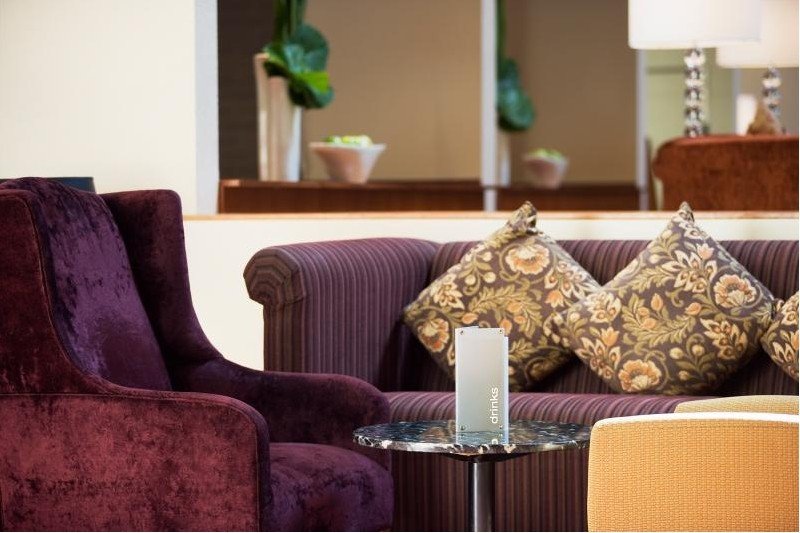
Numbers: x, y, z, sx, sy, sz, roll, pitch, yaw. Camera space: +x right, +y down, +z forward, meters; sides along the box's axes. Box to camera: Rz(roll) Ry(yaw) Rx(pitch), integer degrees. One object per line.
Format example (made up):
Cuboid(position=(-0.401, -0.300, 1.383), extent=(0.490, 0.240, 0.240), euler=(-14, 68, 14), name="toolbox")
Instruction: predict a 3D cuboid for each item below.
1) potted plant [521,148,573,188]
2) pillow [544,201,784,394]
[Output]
Cuboid(position=(0.715, -0.474, 4.715), extent=(0.174, 0.158, 0.199), euler=(3, -5, -21), name="potted plant")
Cuboid(position=(0.885, 0.148, 3.236), extent=(0.711, 0.549, 0.192), euler=(-2, 3, 7), name="pillow")
